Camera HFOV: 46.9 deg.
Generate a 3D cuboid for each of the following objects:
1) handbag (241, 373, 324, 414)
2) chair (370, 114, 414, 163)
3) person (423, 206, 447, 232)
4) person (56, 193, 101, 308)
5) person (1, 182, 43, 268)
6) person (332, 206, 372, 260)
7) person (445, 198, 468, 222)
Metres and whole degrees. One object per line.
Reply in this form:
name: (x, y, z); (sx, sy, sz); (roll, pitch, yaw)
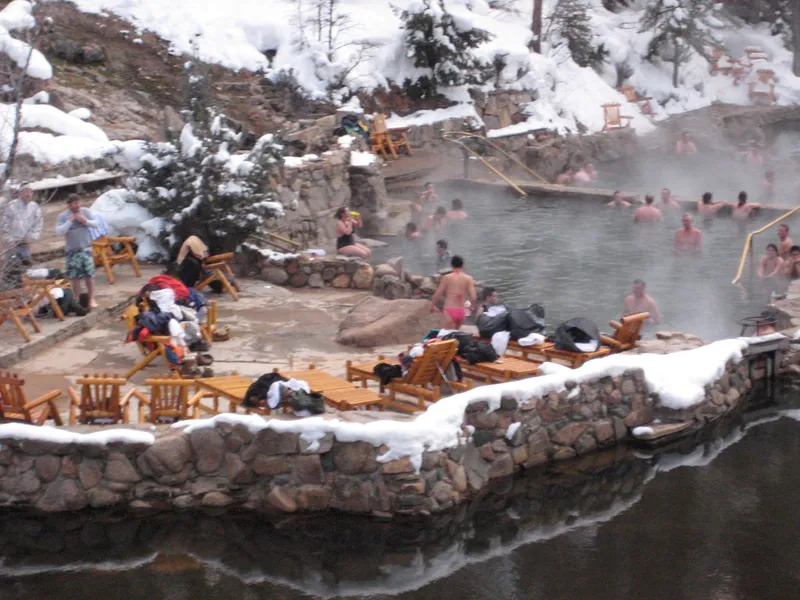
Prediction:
handbag: (-1.600, 1.309, 12.615); (0.710, 0.298, 0.932); (1, -2, -39)
chair: (-0.342, -5.387, 30.366); (1.104, 1.470, 1.659); (2, 6, 21)
person: (0.962, -2.142, 24.281); (0.565, 0.665, 0.662); (-1, 6, 1)
person: (-5.662, -0.837, 16.217); (0.635, 2.028, 0.744); (-4, 8, -17)
person: (-6.394, -1.245, 15.610); (0.553, 1.402, 0.949); (-3, 7, -16)
person: (-1.042, -1.500, 20.207); (0.686, 1.096, 1.446); (-2, 5, -8)
person: (1.552, -2.424, 24.672); (0.505, 0.583, 0.655); (-1, 6, 3)
